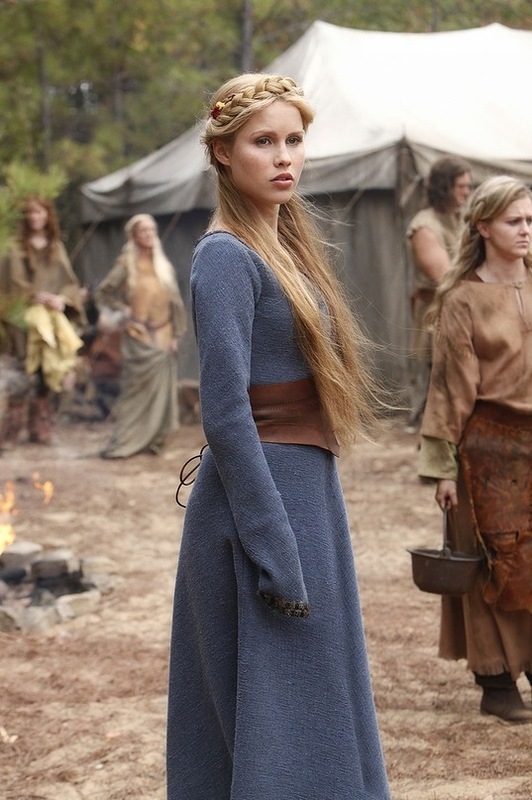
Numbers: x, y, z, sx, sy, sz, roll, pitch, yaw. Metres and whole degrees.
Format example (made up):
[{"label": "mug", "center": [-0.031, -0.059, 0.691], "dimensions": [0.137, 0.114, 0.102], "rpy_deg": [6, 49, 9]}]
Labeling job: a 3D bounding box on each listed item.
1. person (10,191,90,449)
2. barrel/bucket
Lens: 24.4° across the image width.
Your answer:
[{"label": "person", "center": [-0.891, -0.288, 4.817], "dimensions": [0.177, 1.001, 0.539], "rpy_deg": [3, 15, 19]}, {"label": "barrel/bucket", "center": [0.546, 0.472, 3.803], "dimensions": [0.234, 0.263, 0.235], "rpy_deg": [8, -7, 1]}]
